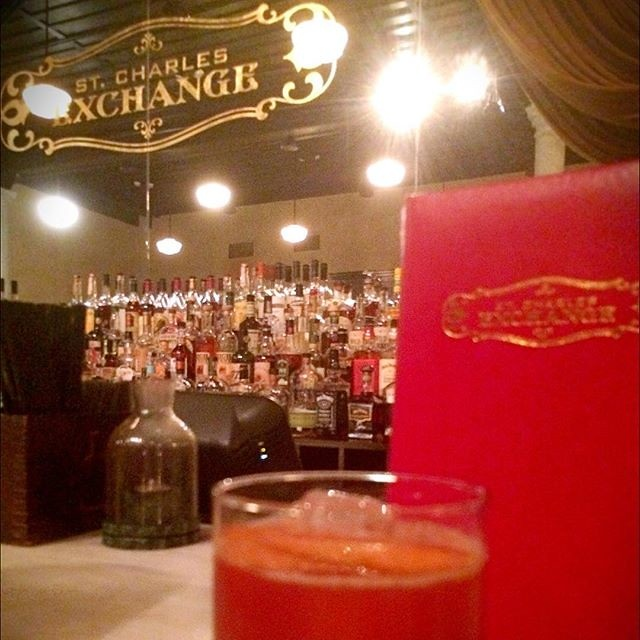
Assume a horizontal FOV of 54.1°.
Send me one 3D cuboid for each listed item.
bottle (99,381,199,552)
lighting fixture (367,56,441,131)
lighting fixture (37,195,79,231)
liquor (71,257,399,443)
[{"bbox_3d":[-0.233,0.194,0.862,0.149,0.225,0.115,1,-4,-2],"label":"bottle"},{"bbox_3d":[0.150,-0.407,1.123,0.144,0.141,0.034,6,4,44],"label":"lighting fixture"},{"bbox_3d":[-0.605,-0.253,1.468,0.115,0.093,0.044,0,-4,11],"label":"lighting fixture"},{"bbox_3d":[-0.179,0.065,1.799,0.719,0.232,0.508,0,-2,26],"label":"liquor"}]
